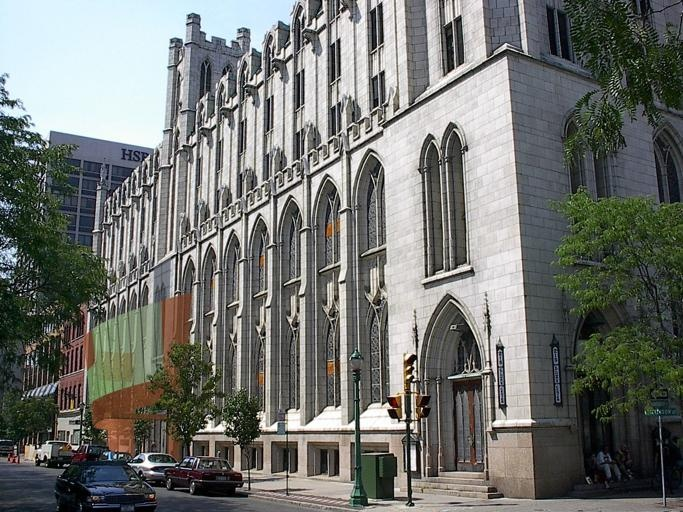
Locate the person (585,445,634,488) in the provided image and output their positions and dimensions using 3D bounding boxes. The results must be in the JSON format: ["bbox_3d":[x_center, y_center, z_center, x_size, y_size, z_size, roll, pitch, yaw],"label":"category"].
[{"bbox_3d":[10.891,8.538,31.060,1.011,1.216,0.557,-16,-59,27],"label":"person"}]

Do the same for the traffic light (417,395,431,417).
[{"bbox_3d":[3.105,5.670,29.217,0.508,0.913,1.662,-2,-16,5],"label":"traffic light"}]
